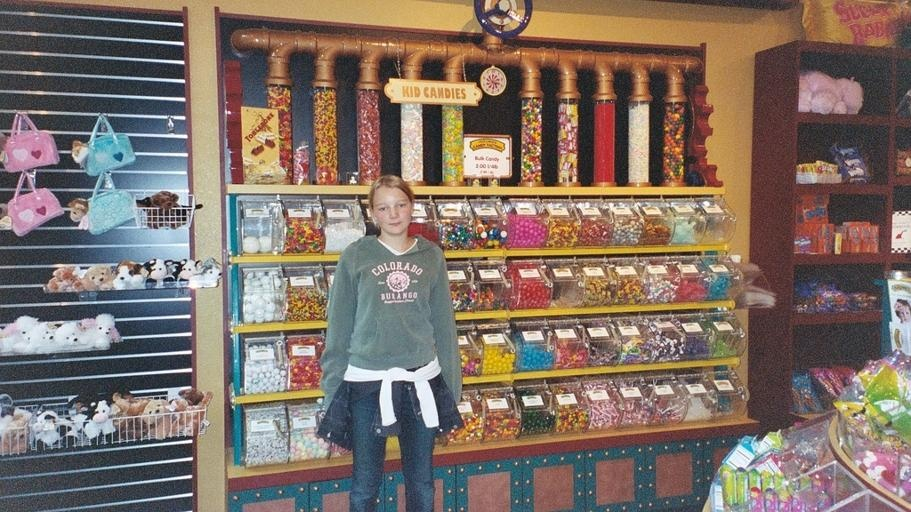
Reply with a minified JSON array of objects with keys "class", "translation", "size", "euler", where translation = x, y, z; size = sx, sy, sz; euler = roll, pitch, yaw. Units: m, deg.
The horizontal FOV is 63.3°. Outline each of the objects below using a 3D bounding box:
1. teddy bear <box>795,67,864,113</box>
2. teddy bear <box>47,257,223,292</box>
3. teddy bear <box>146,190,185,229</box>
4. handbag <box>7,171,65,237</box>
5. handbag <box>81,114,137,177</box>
[{"class":"teddy bear","translation":[3.258,-1.427,6.470],"size":[0.673,0.405,0.196],"euler":[-3,2,-21]},{"class":"teddy bear","translation":[-2.344,0.139,5.420],"size":[1.199,0.231,0.177],"euler":[-2,2,-4]},{"class":"teddy bear","translation":[-2.105,-0.343,5.432],"size":[0.276,0.235,0.280],"euler":[-1,3,-15]},{"class":"handbag","translation":[-3.131,-0.399,5.493],"size":[0.353,0.436,0.174],"euler":[-31,7,-17]},{"class":"handbag","translation":[-2.632,-0.850,5.579],"size":[0.413,0.427,0.167],"euler":[-25,8,-14]}]
